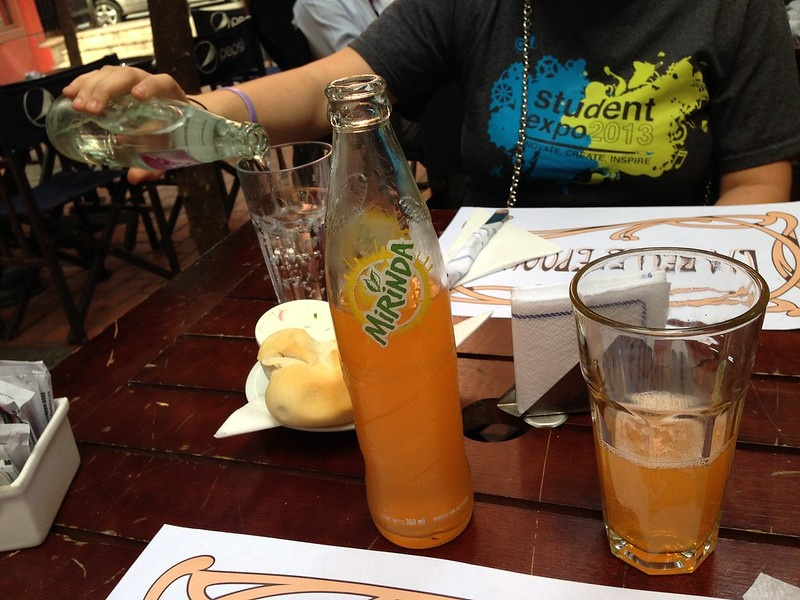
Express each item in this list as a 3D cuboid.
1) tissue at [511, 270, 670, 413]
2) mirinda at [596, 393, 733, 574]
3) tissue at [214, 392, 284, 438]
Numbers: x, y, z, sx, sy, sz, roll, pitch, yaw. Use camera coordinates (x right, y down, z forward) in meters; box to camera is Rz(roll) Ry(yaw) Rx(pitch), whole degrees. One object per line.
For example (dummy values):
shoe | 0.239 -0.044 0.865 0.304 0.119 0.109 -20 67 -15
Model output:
tissue | 0.208 0.058 0.657 0.173 0.137 0.026 -12 -27 34
mirinda | 0.238 0.171 0.570 0.123 0.171 0.078 5 32 16
tissue | -0.184 0.139 0.742 0.073 0.016 0.047 -6 18 -17
